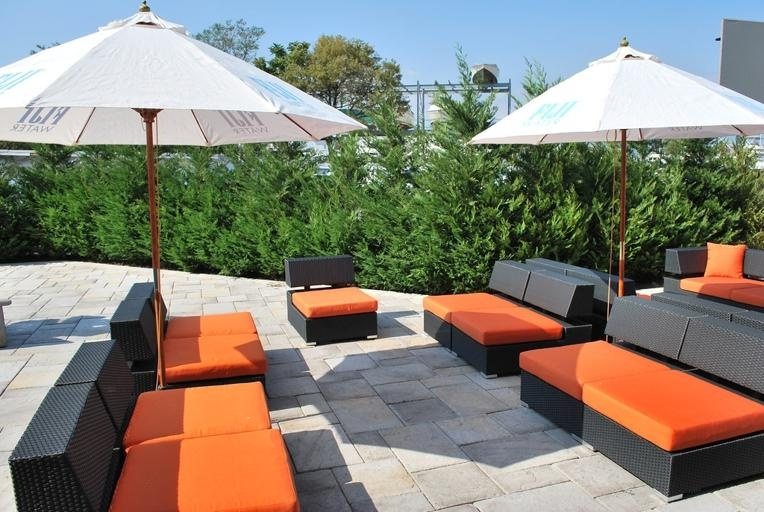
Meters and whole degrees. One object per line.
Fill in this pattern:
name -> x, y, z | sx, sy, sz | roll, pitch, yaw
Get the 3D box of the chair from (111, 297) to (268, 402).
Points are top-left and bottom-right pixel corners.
chair -> -2.097, 1.074, 5.130 | 1.304, 0.517, 1.258 | -3, 18, -17
